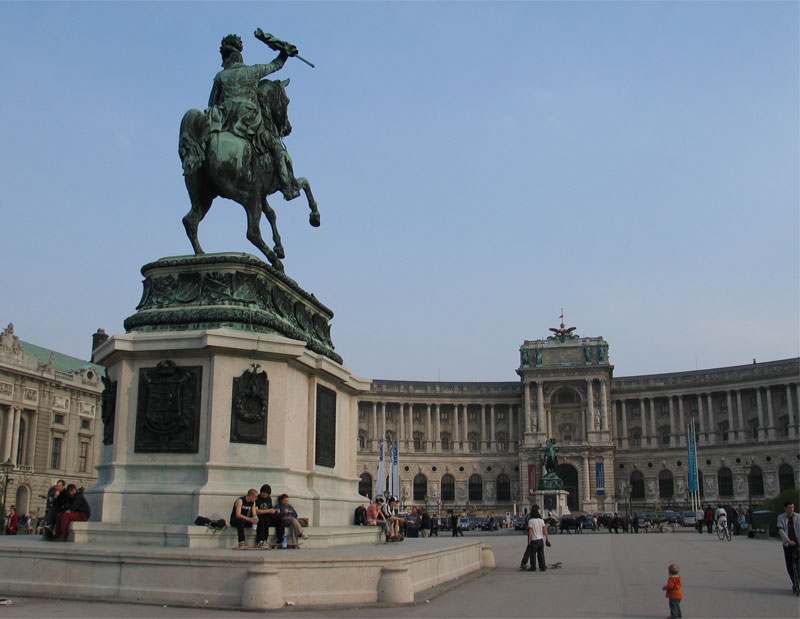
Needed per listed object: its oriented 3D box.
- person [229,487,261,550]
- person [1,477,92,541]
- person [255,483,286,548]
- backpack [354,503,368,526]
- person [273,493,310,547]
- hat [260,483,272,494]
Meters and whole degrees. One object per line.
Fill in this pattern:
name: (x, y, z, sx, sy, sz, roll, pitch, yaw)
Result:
person: (-2.853, 3.807, 16.764, 0.523, 1.028, 0.457, 2, -15, -11)
person: (-6.390, 3.832, 17.610, 0.728, 1.154, 1.273, 7, -17, -26)
person: (-2.426, 3.874, 16.990, 0.564, 1.319, 0.747, 11, -32, -30)
backpack: (-0.929, 4.731, 21.093, 0.435, 0.601, 0.117, 15, -26, -41)
person: (-1.856, 3.960, 17.083, 0.463, 1.083, 0.933, 10, -20, -27)
hat: (-2.523, 3.359, 17.131, 0.177, 0.222, 0.213, 1, -6, 0)
